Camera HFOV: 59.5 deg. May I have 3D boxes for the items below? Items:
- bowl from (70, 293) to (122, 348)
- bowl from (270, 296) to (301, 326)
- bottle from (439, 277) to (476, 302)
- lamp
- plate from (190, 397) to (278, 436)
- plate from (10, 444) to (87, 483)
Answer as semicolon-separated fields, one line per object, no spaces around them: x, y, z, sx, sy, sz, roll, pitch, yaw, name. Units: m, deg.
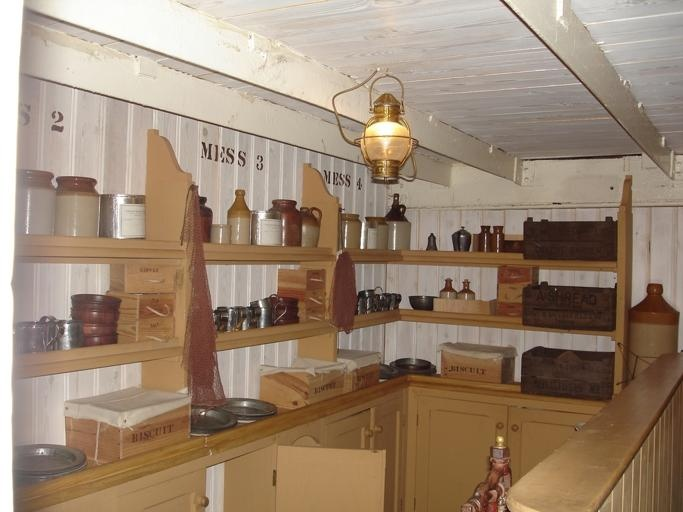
-1.007;0.271;2.463;0.198;0.198;0.204;-1;-6;0;bowl
-0.319;0.315;3.403;0.156;0.146;0.152;-1;-4;0;bowl
0.924;0.318;4.679;0.315;0.216;0.155;-2;-11;20;bottle
0.183;-0.524;2.320;0.370;0.452;0.293;-2;2;-20;lamp
-0.548;0.813;2.995;0.228;0.032;0.294;8;8;34;plate
-1.134;0.798;2.334;0.258;0.083;0.338;0;-2;-29;plate
